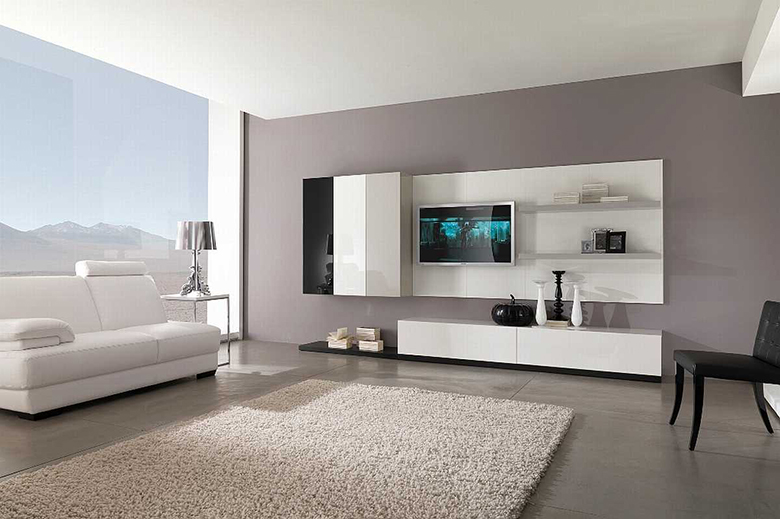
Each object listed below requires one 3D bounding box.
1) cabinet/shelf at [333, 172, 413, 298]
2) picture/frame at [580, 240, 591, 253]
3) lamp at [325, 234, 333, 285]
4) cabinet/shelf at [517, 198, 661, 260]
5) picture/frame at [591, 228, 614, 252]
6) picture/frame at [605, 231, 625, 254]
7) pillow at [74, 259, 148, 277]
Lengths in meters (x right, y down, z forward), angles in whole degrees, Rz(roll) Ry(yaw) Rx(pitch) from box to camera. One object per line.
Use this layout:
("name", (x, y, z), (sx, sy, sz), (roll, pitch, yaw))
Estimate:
("cabinet/shelf", (-0.311, -0.330, 6.799), (1.023, 1.619, 0.277), (4, 8, 30))
("picture/frame", (2.334, -0.152, 6.089), (0.166, 0.156, 0.089), (1, 2, 36))
("lamp", (-0.811, 0.010, 7.009), (0.153, 0.702, 0.058), (6, 9, 39))
("cabinet/shelf", (2.334, -0.362, 6.039), (1.641, 0.714, 0.504), (2, 6, 11))
("picture/frame", (2.444, -0.217, 5.929), (0.255, 0.313, 0.253), (1, -2, 18))
("picture/frame", (2.592, -0.197, 5.900), (0.264, 0.305, 0.025), (2, -1, 17))
("pillow", (-3.047, 0.104, 5.633), (0.674, 0.186, 0.231), (-3, 7, -35))
